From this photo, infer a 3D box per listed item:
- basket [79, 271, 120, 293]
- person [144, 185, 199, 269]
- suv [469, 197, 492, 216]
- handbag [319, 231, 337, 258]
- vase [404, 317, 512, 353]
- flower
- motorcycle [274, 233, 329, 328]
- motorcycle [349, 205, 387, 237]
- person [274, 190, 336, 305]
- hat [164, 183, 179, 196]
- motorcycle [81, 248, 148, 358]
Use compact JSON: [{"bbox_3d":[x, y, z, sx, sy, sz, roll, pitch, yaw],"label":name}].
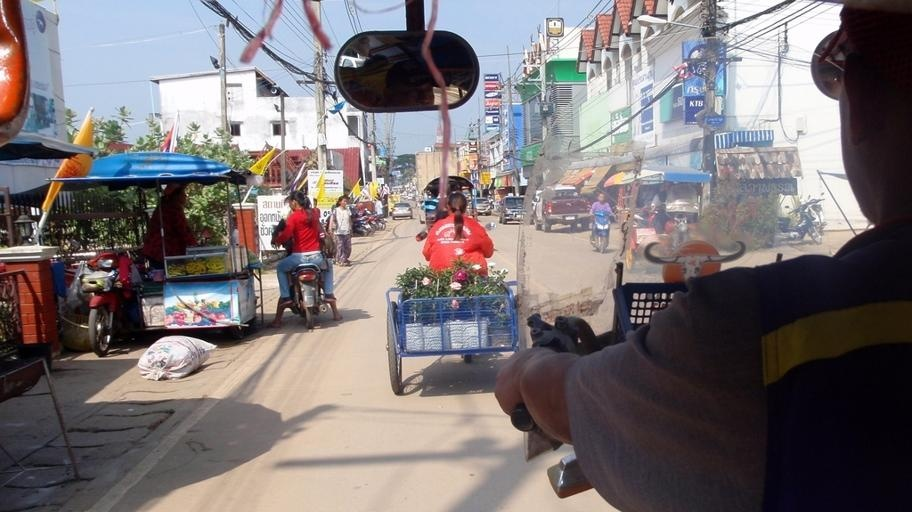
[{"bbox_3d":[-4.595,0.335,9.292,0.399,0.268,0.250,-6,10,-25],"label":"basket"},{"bbox_3d":[-3.964,-0.425,10.017,0.670,1.148,0.599,-10,12,-42],"label":"person"},{"bbox_3d":[1.754,-3.179,46.143,1.237,1.001,2.948,0,-3,0],"label":"suv"},{"bbox_3d":[-2.336,-0.217,13.144,0.260,0.495,0.457,-14,-24,-12],"label":"handbag"},{"bbox_3d":[0.044,0.765,6.864,0.651,0.207,0.476,-1,1,-3],"label":"vase"},{"bbox_3d":[-0.032,0.293,7.166,0.739,0.415,0.742,-1,7,10],"label":"flower"},{"bbox_3d":[-2.190,0.471,10.498,0.616,0.840,1.350,-1,6,-6],"label":"motorcycle"},{"bbox_3d":[-4.264,-1.504,32.673,1.995,1.115,0.978,2,11,45],"label":"motorcycle"},{"bbox_3d":[-2.260,-0.123,10.639,0.814,1.662,0.457,-4,9,-14],"label":"person"},{"bbox_3d":[-3.960,-0.943,10.081,0.171,0.074,0.194,-3,9,-1],"label":"hat"},{"bbox_3d":[-4.461,0.592,9.428,0.568,1.241,0.891,6,12,41],"label":"motorcycle"}]
